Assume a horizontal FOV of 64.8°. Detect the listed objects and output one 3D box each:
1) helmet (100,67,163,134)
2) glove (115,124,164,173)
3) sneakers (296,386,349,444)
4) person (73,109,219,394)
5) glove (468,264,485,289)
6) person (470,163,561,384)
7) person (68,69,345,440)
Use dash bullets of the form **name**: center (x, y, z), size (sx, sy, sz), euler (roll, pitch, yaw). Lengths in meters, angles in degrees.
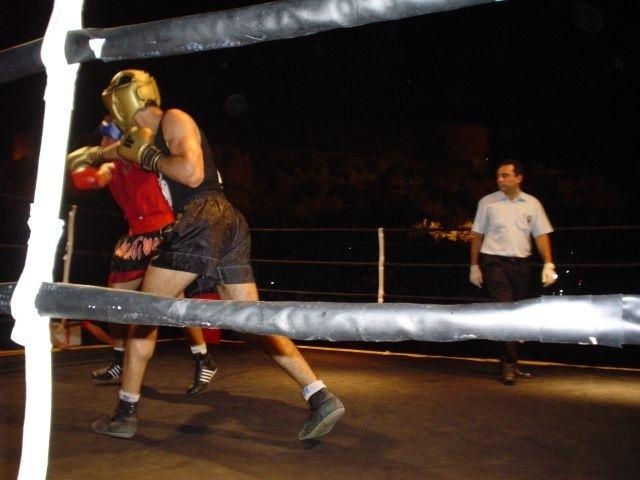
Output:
- **helmet**: center (-0.715, -0.520, 1.912), size (0.170, 0.265, 0.190), euler (1, -2, -3)
- **glove**: center (-0.629, -0.329, 1.800), size (0.154, 0.171, 0.101), euler (1, -2, 13)
- **sneakers**: center (0.010, 0.670, 1.969), size (0.111, 0.280, 0.127), euler (7, 43, -50)
- **person**: center (-0.844, 0.012, 2.351), size (0.830, 1.198, 0.519), euler (-5, -11, -2)
- **glove**: center (1.041, 0.242, 3.464), size (0.143, 0.159, 0.064), euler (3, 0, -33)
- **person**: center (1.251, -0.067, 3.280), size (0.532, 0.915, 0.388), euler (1, -2, 16)
- **person**: center (-0.550, 0.063, 2.021), size (1.196, 1.420, 0.632), euler (0, -2, 30)
